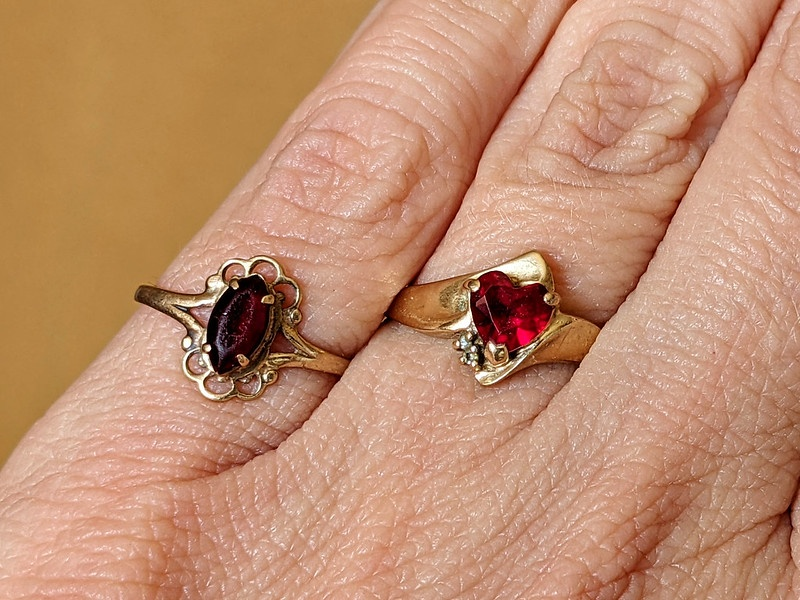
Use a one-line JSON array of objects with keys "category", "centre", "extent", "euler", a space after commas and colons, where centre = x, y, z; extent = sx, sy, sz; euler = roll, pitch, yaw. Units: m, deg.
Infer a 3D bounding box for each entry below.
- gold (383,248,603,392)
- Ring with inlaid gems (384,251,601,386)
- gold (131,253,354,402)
[{"category": "gold", "centre": [0.185, 0.023, 1.777], "extent": [0.370, 0.100, 0.278], "euler": [9, 54, -10]}, {"category": "Ring with inlaid gems", "centre": [0.167, 0.017, 1.746], "extent": [0.353, 0.222, 0.110], "euler": [22, 20, -4]}, {"category": "gold", "centre": [-0.260, 0.050, 1.743], "extent": [0.376, 0.233, 0.098], "euler": [18, 20, -15]}]
